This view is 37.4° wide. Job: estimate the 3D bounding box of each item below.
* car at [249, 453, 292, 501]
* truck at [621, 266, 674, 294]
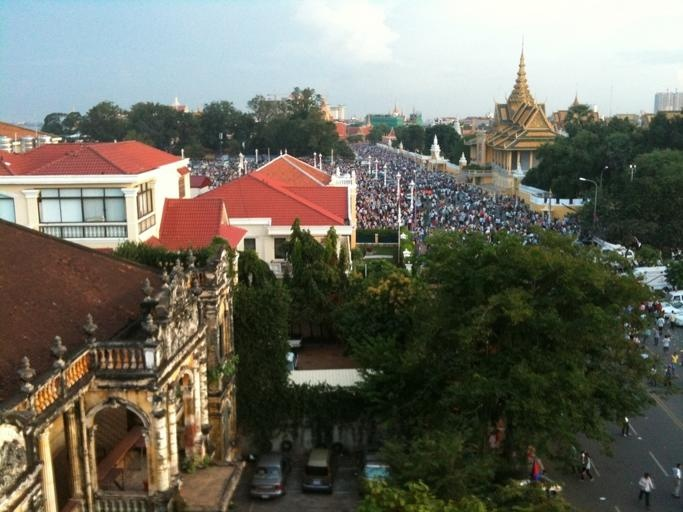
[{"bbox_3d":[-3.020,9.254,42.715,0.829,0.812,2.288,2,19,2],"label":"car"},{"bbox_3d":[16.961,1.307,55.463,2.331,1.016,1.585,-1,3,-3],"label":"truck"}]
